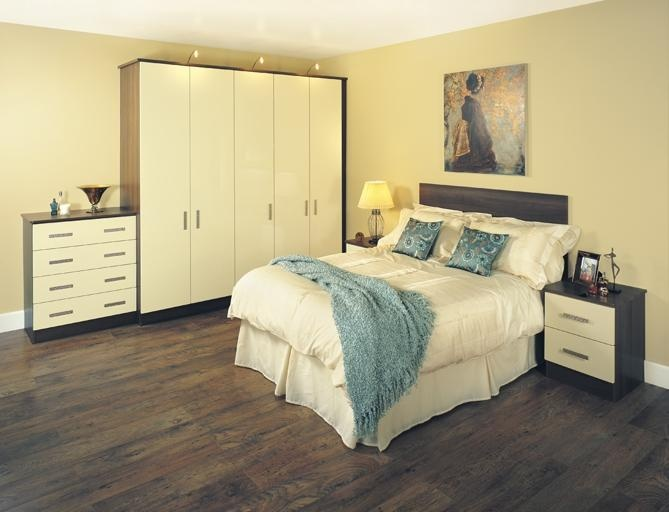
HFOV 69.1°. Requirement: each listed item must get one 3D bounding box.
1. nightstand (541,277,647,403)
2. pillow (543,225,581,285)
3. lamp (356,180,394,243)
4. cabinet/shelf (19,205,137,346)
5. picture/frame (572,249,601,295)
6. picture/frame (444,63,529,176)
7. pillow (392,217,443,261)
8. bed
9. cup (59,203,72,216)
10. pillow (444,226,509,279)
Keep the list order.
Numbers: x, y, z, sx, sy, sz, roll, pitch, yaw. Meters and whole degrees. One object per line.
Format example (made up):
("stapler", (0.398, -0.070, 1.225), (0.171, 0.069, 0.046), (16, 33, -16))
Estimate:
("nightstand", (2.115, 0.665, 3.956), (0.743, 0.752, 0.713), (2, 10, 30))
("pillow", (1.952, -0.002, 4.160), (0.139, 0.441, 0.408), (13, -9, -33))
("lamp", (0.485, -0.505, 5.711), (0.419, 0.712, 0.410), (0, 9, 4))
("cabinet/shelf", (-2.542, 0.186, 4.744), (1.285, 1.462, 0.756), (-4, 6, -37))
("picture/frame", (2.048, 0.137, 3.951), (0.032, 0.443, 0.343), (1, 3, -24))
("picture/frame", (1.486, -1.330, 4.683), (0.052, 1.267, 1.153), (-8, 11, -40))
("pillow", (0.811, -0.155, 4.707), (0.105, 0.329, 0.349), (31, -7, -30))
("bed", (0.593, 0.252, 4.190), (2.423, 1.541, 1.807), (-10, 16, -37))
("cup", (-2.643, -0.458, 4.769), (0.090, 0.154, 0.133), (8, 9, 43))
("pillow", (1.222, -0.038, 4.178), (0.119, 0.405, 0.433), (33, -9, -35))
